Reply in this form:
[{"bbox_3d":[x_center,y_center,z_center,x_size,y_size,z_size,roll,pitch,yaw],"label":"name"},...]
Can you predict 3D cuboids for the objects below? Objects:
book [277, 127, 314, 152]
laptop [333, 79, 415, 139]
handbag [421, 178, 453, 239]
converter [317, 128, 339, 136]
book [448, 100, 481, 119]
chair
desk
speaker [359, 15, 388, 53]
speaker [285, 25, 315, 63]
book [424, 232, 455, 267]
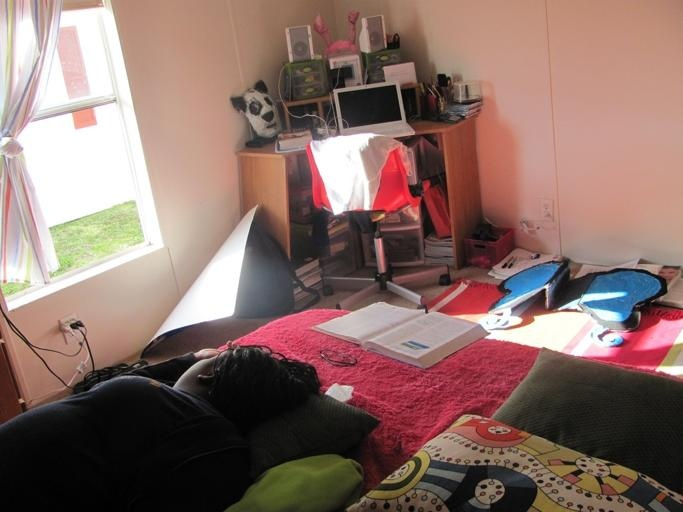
[{"bbox_3d":[-0.314,-0.780,3.538,0.247,0.054,0.237,-2,21,12],"label":"book"},{"bbox_3d":[0.187,-1.011,3.604,0.629,0.348,0.507,-8,34,-6],"label":"laptop"},{"bbox_3d":[0.677,-0.343,3.699,0.147,0.313,0.390,-19,7,9],"label":"handbag"},{"bbox_3d":[-0.109,-0.857,3.652,0.099,0.039,0.122,5,18,10],"label":"converter"},{"bbox_3d":[0.860,-1.026,3.627,0.144,0.056,0.196,16,29,38],"label":"book"},{"bbox_3d":[0.207,-0.233,3.383,0.843,0.993,0.850,-5,6,15],"label":"chair"},{"bbox_3d":[0.240,-0.528,3.900,1.706,1.163,1.302,1,19,18],"label":"desk"},{"bbox_3d":[0.222,-1.608,3.816,0.204,0.253,0.178,-5,19,6],"label":"speaker"},{"bbox_3d":[-0.299,-1.495,3.729,0.201,0.251,0.086,-10,22,-6],"label":"speaker"},{"bbox_3d":[0.714,-0.042,3.810,0.238,0.095,0.274,1,10,6],"label":"book"}]
